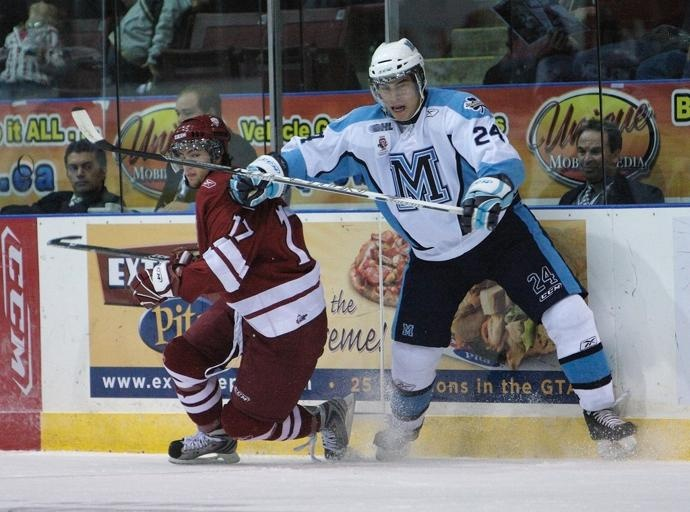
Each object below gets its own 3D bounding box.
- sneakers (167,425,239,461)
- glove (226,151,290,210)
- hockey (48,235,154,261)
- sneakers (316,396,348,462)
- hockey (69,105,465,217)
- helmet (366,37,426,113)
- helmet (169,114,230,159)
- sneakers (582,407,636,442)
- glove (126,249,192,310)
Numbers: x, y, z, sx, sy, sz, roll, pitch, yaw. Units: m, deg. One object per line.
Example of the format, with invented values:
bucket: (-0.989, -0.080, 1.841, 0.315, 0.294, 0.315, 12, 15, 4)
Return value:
sneakers: (-0.724, 0.984, 6.723, 0.408, 0.217, 0.141, 4, -2, -7)
glove: (-0.392, -0.370, 6.287, 0.213, 0.250, 0.289, 2, 8, 32)
hockey: (-1.310, -0.040, 6.717, 0.221, 0.035, 0.835, -15, 15, -41)
sneakers: (-0.058, 0.906, 6.685, 0.171, 0.292, 0.214, -13, -25, 4)
hockey: (-0.317, -0.488, 6.604, 1.912, 0.123, 0.271, 11, -41, -4)
helmet: (0.261, -0.871, 6.302, 0.270, 0.390, 0.138, -2, 7, 2)
helmet: (-0.723, -0.577, 6.445, 0.267, 0.223, 0.206, 11, -9, -29)
sneakers: (1.314, 0.853, 6.476, 0.117, 0.139, 0.337, -11, -5, -36)
glove: (-0.893, 0.113, 6.362, 0.289, 0.277, 0.215, 0, 7, 19)
